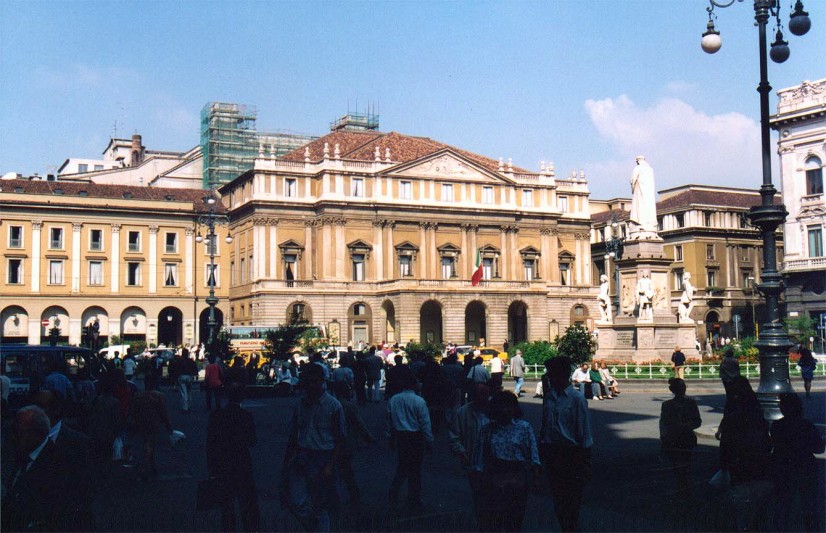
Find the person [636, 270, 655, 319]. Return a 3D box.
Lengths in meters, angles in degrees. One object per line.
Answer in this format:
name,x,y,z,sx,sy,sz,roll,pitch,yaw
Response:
person,10.599,1.325,52.920,0.785,2.217,0.811,-3,-8,10

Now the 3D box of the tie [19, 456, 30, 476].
tie,-9.312,4.750,27.789,0.135,0.370,0.054,18,2,-34

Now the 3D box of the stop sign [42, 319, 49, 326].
stop sign,-26.643,4.016,83.570,0.471,0.442,0.074,0,-9,-20
